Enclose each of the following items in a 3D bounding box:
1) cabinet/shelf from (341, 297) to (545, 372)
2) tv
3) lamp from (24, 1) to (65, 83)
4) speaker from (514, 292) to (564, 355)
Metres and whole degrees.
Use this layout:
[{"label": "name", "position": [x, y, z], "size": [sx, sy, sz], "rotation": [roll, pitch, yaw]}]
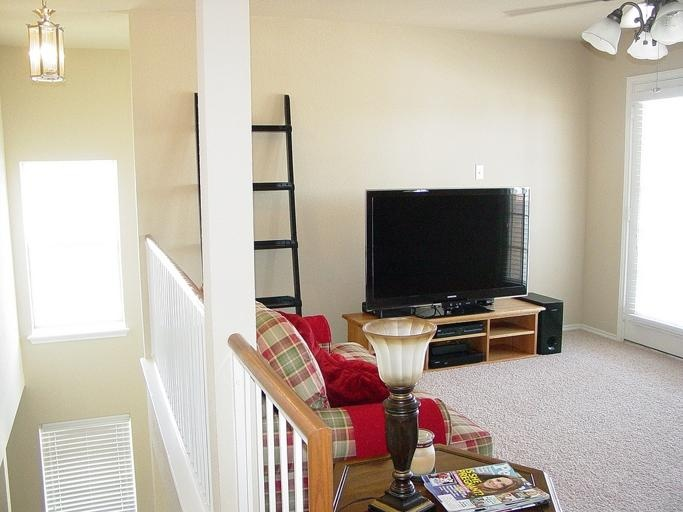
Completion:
[{"label": "cabinet/shelf", "position": [0.943, 0.707, 4.947], "size": [1.549, 0.494, 0.498], "rotation": [-4, 9, -7]}, {"label": "tv", "position": [0.911, -0.038, 4.844], "size": [1.633, 1.087, 0.416], "rotation": [-3, 7, -22]}, {"label": "lamp", "position": [-1.960, -1.425, 3.655], "size": [0.217, 0.504, 0.223], "rotation": [-7, 15, -25]}, {"label": "speaker", "position": [1.729, 0.609, 4.982], "size": [0.284, 0.569, 0.528], "rotation": [-3, 13, -12]}]
